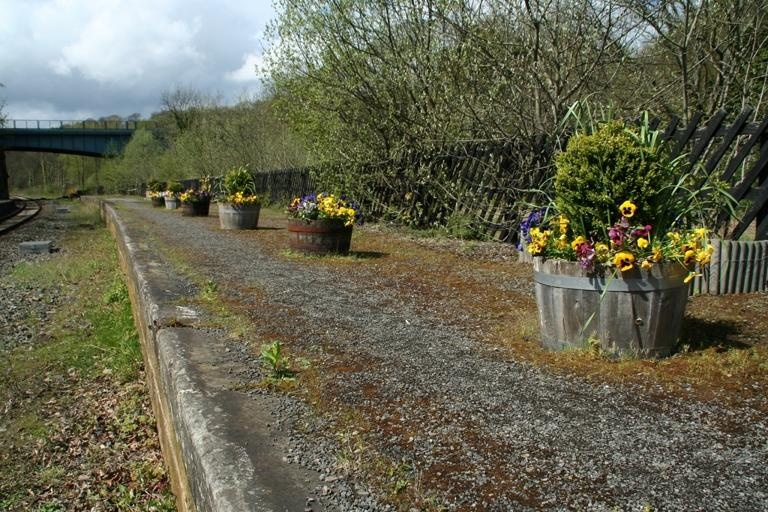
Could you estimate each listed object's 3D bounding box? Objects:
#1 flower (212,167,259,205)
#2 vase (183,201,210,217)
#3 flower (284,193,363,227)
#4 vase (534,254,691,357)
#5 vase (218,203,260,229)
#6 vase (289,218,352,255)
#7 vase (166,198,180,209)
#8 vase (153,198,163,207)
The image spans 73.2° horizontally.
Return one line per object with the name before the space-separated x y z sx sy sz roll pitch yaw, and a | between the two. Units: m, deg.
flower | -3.751 -1.833 13.401 0.938 0.972 1.444 1 8 -21
vase | -6.501 -1.678 17.919 0.854 0.559 0.429 0 8 -23
flower | -1.049 -0.790 8.533 0.803 0.357 0.800 10 5 39
vase | 1.740 0.428 4.313 0.901 0.546 0.893 2 -4 0
vase | -3.640 -0.994 13.168 0.777 0.435 0.767 0 1 -5
vase | -1.085 -0.306 8.517 0.742 0.328 0.695 1 2 30
vase | -9.180 -2.333 22.539 0.752 0.487 0.211 7 8 25
vase | -10.556 -2.523 24.292 0.447 0.325 0.458 3 5 37
